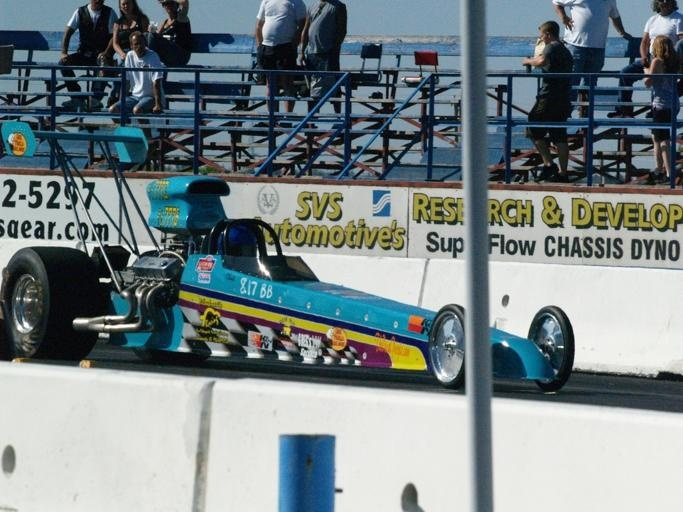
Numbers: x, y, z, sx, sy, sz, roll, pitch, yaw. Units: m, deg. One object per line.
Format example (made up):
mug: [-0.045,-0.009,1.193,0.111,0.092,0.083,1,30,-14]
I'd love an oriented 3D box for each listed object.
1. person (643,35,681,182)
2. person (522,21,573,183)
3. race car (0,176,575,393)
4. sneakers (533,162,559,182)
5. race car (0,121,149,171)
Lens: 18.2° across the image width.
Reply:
person: [4.247,-1.966,28.306,0.451,1.926,0.806,2,6,9]
person: [2.764,-2.061,28.392,0.624,2.116,0.731,2,6,5]
race car: [-1.017,0.552,24.335,4.916,1.962,3.077,2,0,30]
sneakers: [2.779,-1.134,28.762,0.227,0.304,0.672,1,4,10]
race car: [-3.367,-1.467,27.107,1.715,0.655,3.660,1,7,-7]
